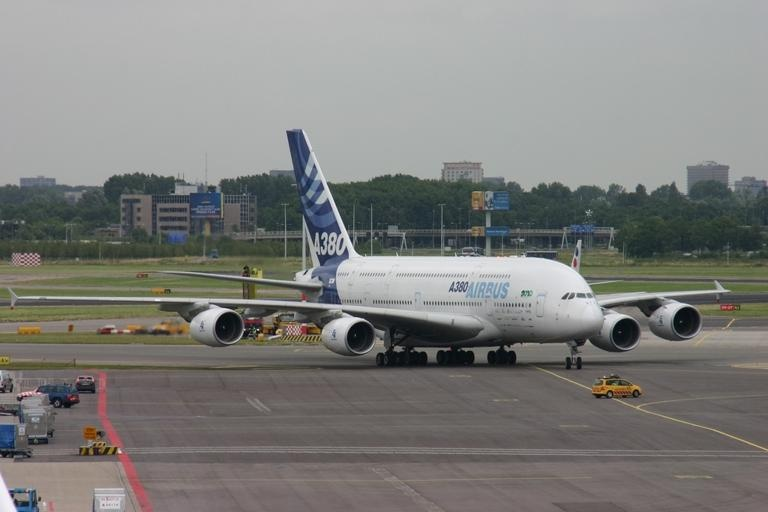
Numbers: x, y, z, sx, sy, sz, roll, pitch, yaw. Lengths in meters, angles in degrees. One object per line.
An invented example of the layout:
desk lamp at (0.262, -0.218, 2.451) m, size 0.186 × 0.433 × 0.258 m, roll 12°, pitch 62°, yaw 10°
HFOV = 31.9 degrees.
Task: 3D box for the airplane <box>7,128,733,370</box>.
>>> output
airplane at (2.981, -0.799, 72.853) m, size 23.677 × 12.905 × 14.254 m, roll 0°, pitch 2°, yaw 19°

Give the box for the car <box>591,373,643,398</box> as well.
car at (10.671, 6.078, 62.992) m, size 2.030 × 0.721 × 1.027 m, roll 2°, pitch -4°, yaw -14°

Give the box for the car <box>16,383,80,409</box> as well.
car at (-15.282, 6.387, 61.767) m, size 2.733 × 0.791 × 1.078 m, roll 3°, pitch 3°, yaw 5°
